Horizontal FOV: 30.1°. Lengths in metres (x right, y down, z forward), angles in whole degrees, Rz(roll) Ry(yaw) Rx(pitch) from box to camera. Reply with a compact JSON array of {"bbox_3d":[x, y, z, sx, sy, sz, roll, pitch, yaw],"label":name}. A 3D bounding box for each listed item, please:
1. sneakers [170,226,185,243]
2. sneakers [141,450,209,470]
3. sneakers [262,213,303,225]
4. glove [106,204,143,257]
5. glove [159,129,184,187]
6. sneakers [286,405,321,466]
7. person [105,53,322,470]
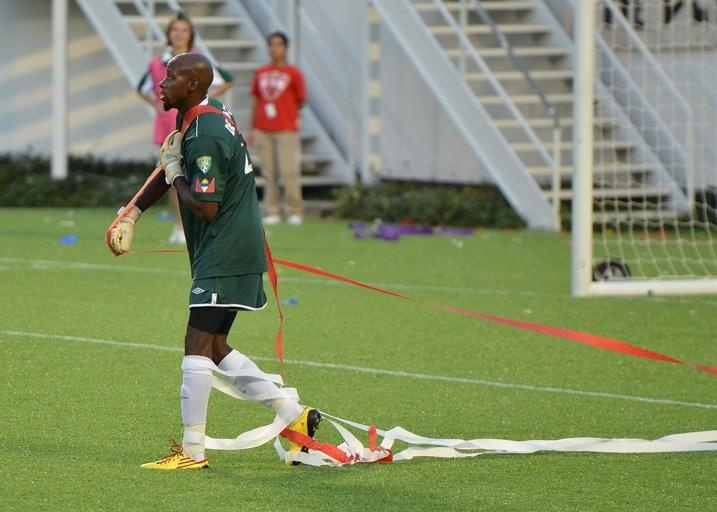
[{"bbox_3d":[-1.792,-0.206,13.339,0.179,0.206,0.502,-1,-2,-6],"label":"sneakers"},{"bbox_3d":[-1.144,1.300,8.481,0.458,0.142,0.146,2,-12,-2],"label":"sneakers"},{"bbox_3d":[-0.869,-0.417,15.775,0.534,0.151,0.202,-1,-3,1],"label":"sneakers"},{"bbox_3d":[-1.444,-0.145,8.469,0.206,0.300,0.126,-23,-43,39],"label":"glove"},{"bbox_3d":[-1.166,-0.620,8.350,0.197,0.296,0.093,-2,-11,5],"label":"glove"},{"bbox_3d":[-0.332,1.140,8.554,0.131,0.344,0.220,32,-20,-25],"label":"sneakers"},{"bbox_3d":[-0.911,0.042,8.442,1.176,2.047,0.450,2,1,-10],"label":"person"}]
